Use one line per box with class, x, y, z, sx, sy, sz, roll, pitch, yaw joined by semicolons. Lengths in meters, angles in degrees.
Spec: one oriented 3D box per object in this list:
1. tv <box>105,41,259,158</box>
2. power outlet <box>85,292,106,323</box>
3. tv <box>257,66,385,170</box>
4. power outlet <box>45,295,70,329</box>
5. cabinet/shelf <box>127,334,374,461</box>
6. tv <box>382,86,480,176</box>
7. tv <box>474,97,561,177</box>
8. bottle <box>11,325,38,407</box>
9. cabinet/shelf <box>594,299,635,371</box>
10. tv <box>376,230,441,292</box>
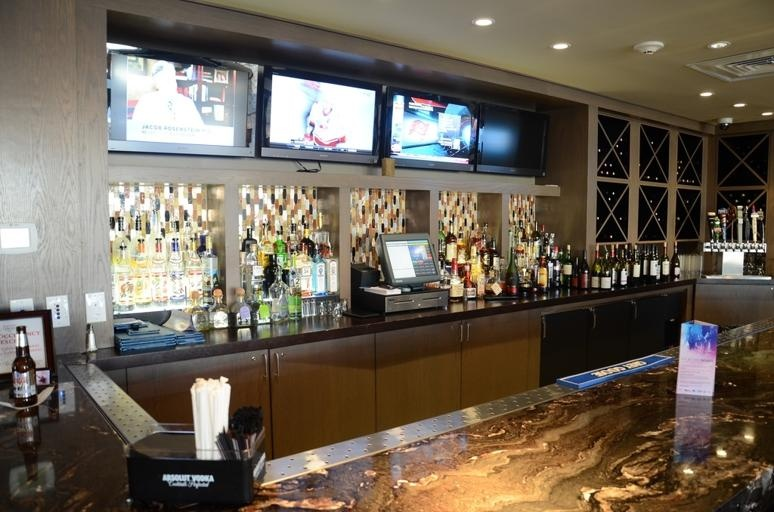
tv;-1.434;-1.064;3.827;0.923;0.610;0.092;-2;14;-25
power outlet;-1.761;0.318;3.402;0.114;0.150;0.025;-5;4;-23
tv;-0.548;-1.078;4.360;0.881;0.529;0.115;-2;7;-33
power outlet;-1.930;0.331;3.300;0.079;0.129;0.018;-6;-1;-26
cabinet/shelf;-0.797;0.767;3.131;0.939;0.521;0.320;-1;-1;-40
tv;0.395;-1.107;5.003;1.093;0.650;0.101;-4;9;-39
tv;1.237;-1.102;5.566;0.910;0.603;0.082;-1;8;-30
bottle;-1.771;0.524;2.729;0.110;0.339;0.225;-6;4;-34
cabinet/shelf;2.124;0.738;5.305;0.659;0.611;0.236;-4;7;-42
tv;0.154;0.053;4.589;0.529;0.459;0.282;-4;0;-38
